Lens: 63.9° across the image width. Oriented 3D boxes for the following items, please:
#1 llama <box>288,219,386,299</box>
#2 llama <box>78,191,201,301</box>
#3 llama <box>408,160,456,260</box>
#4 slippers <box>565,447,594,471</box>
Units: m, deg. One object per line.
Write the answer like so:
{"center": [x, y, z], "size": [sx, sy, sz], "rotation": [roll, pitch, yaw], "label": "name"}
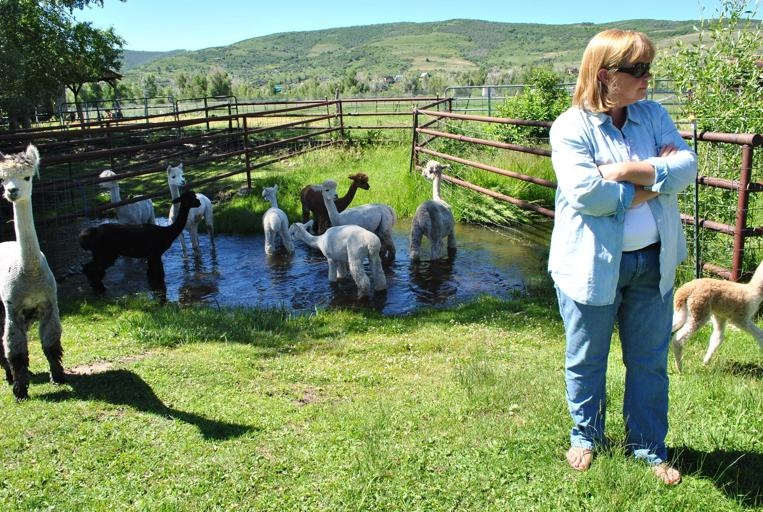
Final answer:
{"center": [-0.936, -0.029, 9.792], "size": [1.985, 1.159, 0.666], "rotation": [16, 23, 40], "label": "llama"}
{"center": [-4.023, -0.188, 10.183], "size": [1.790, 1.395, 0.916], "rotation": [-10, 15, -27], "label": "llama"}
{"center": [0.992, -0.843, 11.387], "size": [0.744, 1.541, 2.269], "rotation": [0, 16, 11], "label": "llama"}
{"center": [1.725, 1.761, 5.304], "size": [0.136, 0.100, 0.308], "rotation": [-4, 2, -6], "label": "slippers"}
